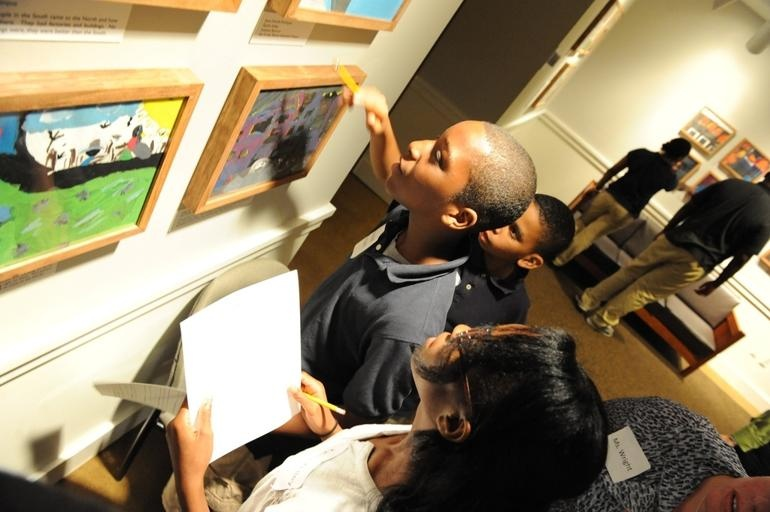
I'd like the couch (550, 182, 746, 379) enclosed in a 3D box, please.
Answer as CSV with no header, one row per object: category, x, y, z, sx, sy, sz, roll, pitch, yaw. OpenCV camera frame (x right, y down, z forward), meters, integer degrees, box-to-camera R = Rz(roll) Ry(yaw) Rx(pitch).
couch,2.589,0.186,5.003,1.931,0.817,0.676,43,32,7

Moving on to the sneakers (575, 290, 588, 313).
sneakers,1.937,0.447,4.849,0.136,0.201,0.071,-12,4,-14

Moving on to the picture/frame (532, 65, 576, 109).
picture/frame,1.600,-1.641,4.772,0.176,0.477,0.633,29,20,8

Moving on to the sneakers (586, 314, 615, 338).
sneakers,2.033,0.664,4.642,0.079,0.153,0.225,-6,52,-25

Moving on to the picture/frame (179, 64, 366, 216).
picture/frame,-0.417,-0.495,1.974,0.083,0.542,0.761,38,30,7
